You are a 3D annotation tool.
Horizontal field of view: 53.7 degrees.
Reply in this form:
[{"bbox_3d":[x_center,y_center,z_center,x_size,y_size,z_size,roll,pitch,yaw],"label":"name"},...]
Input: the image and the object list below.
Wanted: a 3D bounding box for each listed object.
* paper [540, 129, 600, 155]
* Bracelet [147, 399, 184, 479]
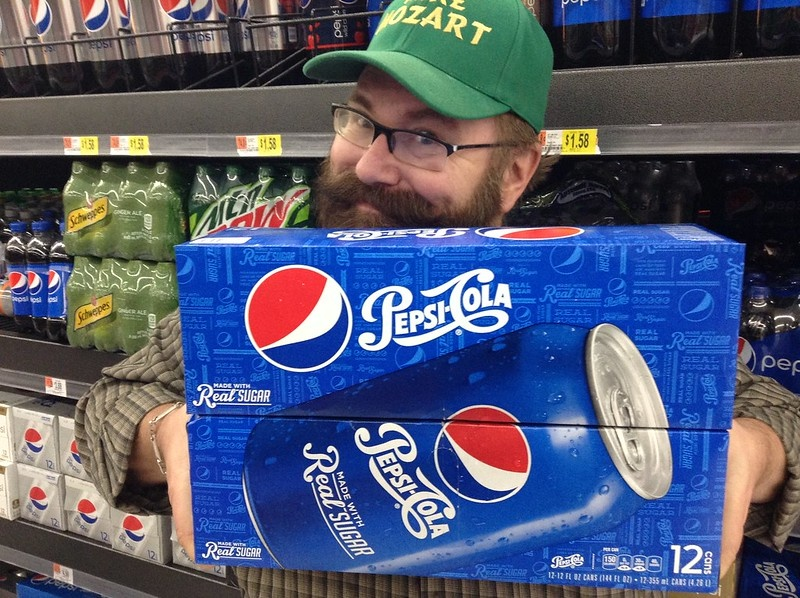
[{"bbox_3d":[0.391,-0.348,1.820,0.118,0.063,0.058,3,1,15],"label":"paper"},{"bbox_3d":[-0.486,0.283,1.594,0.037,0.120,0.117,-12,41,-25],"label":"Bracelet"}]
